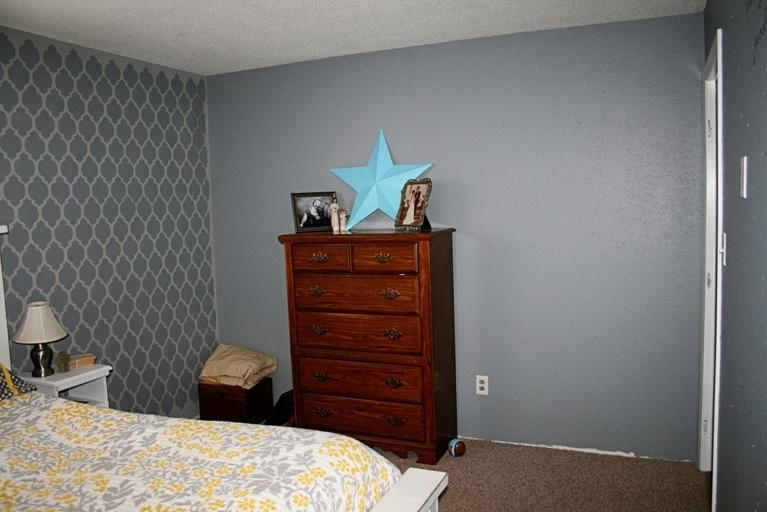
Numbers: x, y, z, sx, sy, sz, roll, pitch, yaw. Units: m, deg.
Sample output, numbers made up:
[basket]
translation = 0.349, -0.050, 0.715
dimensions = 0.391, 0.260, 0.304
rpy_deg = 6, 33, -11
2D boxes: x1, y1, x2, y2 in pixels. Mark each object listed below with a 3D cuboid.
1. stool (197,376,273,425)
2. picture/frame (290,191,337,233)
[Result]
[stool]
translation = -1.264, 1.252, 4.829
dimensions = 0.540, 0.387, 0.403
rpy_deg = 0, 0, 14
[picture/frame]
translation = -0.566, -0.367, 4.577
dimensions = 0.362, 0.322, 0.024
rpy_deg = 0, -4, -19
